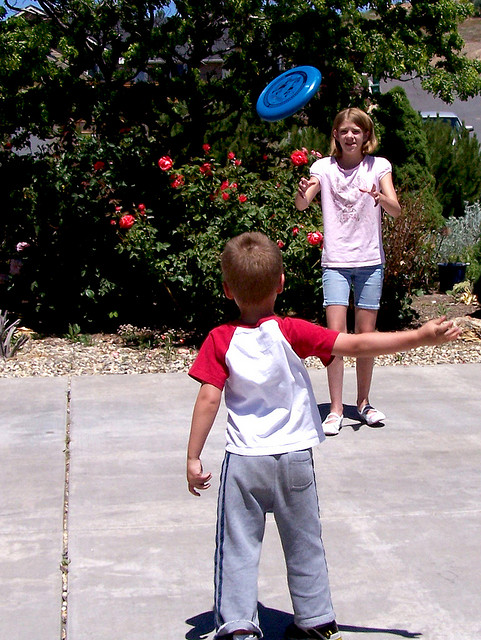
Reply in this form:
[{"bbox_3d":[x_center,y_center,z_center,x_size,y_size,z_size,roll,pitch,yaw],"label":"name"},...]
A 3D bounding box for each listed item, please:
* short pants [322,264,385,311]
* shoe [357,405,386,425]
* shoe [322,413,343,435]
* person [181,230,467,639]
[{"bbox_3d":[0.596,-0.188,4.674,0.457,0.365,0.245,0,2,2],"label":"short pants"},{"bbox_3d":[0.749,0.548,4.648,0.075,0.063,0.169,-13,3,-18],"label":"shoe"},{"bbox_3d":[0.508,0.574,4.493,0.106,0.103,0.261,-2,-2,15],"label":"shoe"},{"bbox_3d":[0.149,0.364,2.403,0.594,1.222,0.366,-5,13,-18],"label":"person"}]
